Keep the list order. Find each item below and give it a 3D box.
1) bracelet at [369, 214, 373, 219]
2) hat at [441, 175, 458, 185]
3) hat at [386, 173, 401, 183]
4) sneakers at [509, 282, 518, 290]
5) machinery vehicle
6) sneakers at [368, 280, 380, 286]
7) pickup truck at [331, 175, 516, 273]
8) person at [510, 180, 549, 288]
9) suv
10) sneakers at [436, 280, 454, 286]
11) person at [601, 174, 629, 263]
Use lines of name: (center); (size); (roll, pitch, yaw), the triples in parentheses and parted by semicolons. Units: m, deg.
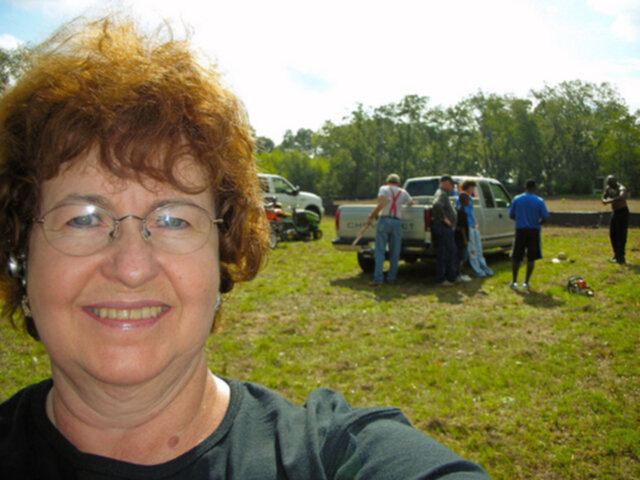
bracelet: (0.896, -0.424, 10.095); (0.085, 0.089, 0.090); (0, 1, 3)
hat: (2.270, -1.066, 9.971); (0.262, 0.147, 0.193); (-4, 11, -14)
hat: (1.243, -1.039, 9.723); (0.160, 0.116, 0.228); (2, 13, -3)
sneakers: (3.305, 0.794, 9.767); (0.083, 0.141, 0.135); (-4, 0, -43)
machinery vehicle: (-0.792, -0.524, 16.182); (1.786, 1.092, 0.924); (-5, 16, -8)
sneakers: (0.943, 0.754, 9.978); (0.193, 0.090, 0.073); (-2, 6, -4)
pickup truck: (2.382, -0.425, 11.534); (1.899, 1.418, 3.684); (2, 8, 41)
person: (3.589, -0.120, 9.855); (0.609, 1.825, 0.896); (2, 9, 20)
suv: (-0.992, -1.513, 19.135); (2.425, 1.255, 1.190); (-6, 8, -41)
sneakers: (2.217, 0.757, 10.124); (0.316, 0.148, 0.113); (-3, 4, 3)
person: (6.098, -0.452, 11.765); (0.492, 1.699, 1.291); (3, 9, 26)
